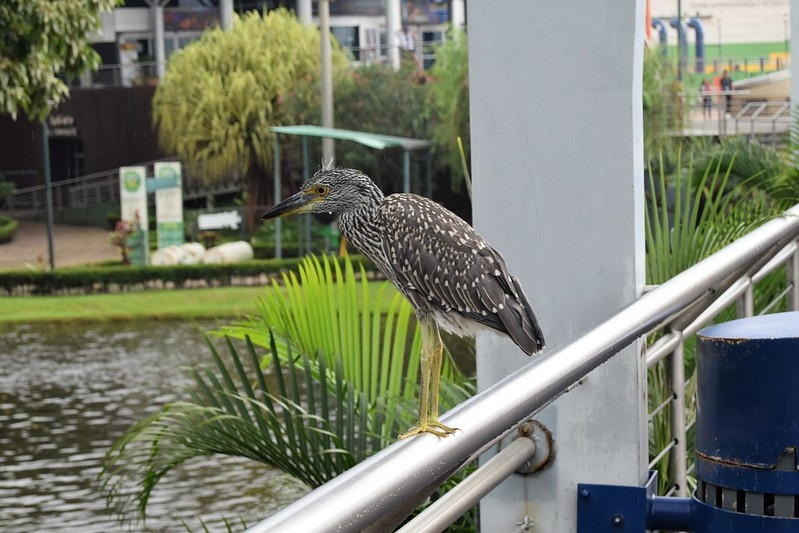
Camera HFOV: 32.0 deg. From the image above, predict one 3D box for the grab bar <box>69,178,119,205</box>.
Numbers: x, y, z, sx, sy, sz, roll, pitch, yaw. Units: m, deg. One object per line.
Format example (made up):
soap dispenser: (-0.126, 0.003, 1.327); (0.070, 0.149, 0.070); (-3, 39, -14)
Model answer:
grab bar: (-5.451, -1.282, 24.641); (0.727, 0.331, 0.456); (-5, -1, -7)

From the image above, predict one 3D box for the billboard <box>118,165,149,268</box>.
billboard: (-4.712, -0.892, 24.663); (0.464, 2.060, 0.110); (-4, 31, -13)

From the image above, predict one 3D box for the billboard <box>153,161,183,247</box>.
billboard: (-4.077, -0.922, 24.546); (0.457, 2.040, 0.189); (-2, -28, -10)

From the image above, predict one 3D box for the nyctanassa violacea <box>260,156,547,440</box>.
nyctanassa violacea: (0.005, 0.313, 12.484); (2.415, 2.424, 0.758); (1, 0, -1)
